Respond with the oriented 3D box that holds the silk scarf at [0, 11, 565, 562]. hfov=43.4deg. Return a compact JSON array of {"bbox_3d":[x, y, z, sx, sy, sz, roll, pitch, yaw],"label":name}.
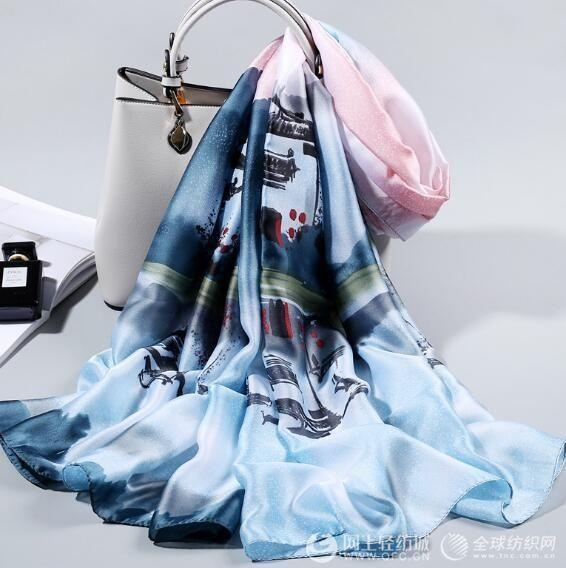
[{"bbox_3d":[-0.007,0.040,1.315,1.013,0.800,0.847,1,13,1],"label":"silk scarf"}]
